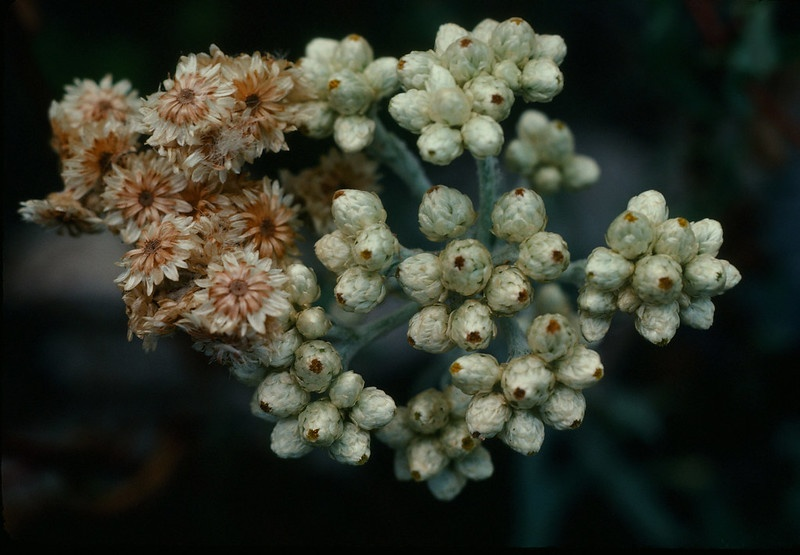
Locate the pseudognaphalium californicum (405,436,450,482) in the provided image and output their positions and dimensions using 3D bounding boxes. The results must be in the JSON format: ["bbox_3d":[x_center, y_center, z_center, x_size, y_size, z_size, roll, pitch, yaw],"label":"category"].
[{"bbox_3d":[0.086,0.573,2.674,0.126,0.136,0.098,-13,0,-4],"label":"pseudognaphalium californicum"}]

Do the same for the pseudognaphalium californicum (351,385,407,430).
[{"bbox_3d":[-0.066,0.403,2.622,0.134,0.114,0.110,6,-13,28],"label":"pseudognaphalium californicum"}]

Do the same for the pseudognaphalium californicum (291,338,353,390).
[{"bbox_3d":[-0.259,0.256,2.602,0.144,0.129,0.148,7,9,-42],"label":"pseudognaphalium californicum"}]

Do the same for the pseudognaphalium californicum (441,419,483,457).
[{"bbox_3d":[0.186,0.487,2.609,0.104,0.102,0.116,2,2,9],"label":"pseudognaphalium californicum"}]

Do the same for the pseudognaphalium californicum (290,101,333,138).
[{"bbox_3d":[-0.274,-0.485,2.631,0.114,0.099,0.099,1,-1,-6],"label":"pseudognaphalium californicum"}]

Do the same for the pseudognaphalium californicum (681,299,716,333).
[{"bbox_3d":[0.894,0.111,2.538,0.100,0.096,0.078,-13,0,-43],"label":"pseudognaphalium californicum"}]

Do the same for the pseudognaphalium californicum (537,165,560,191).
[{"bbox_3d":[0.530,-0.360,3.042,0.086,0.095,0.083,3,6,28],"label":"pseudognaphalium californicum"}]

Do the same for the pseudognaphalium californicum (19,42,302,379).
[{"bbox_3d":[-0.680,-0.225,2.626,0.869,0.972,0.339,-13,0,18],"label":"pseudognaphalium californicum"}]

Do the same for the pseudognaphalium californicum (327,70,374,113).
[{"bbox_3d":[-0.158,-0.564,2.603,0.141,0.120,0.113,11,9,-10],"label":"pseudognaphalium californicum"}]

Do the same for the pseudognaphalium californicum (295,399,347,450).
[{"bbox_3d":[-0.238,0.432,2.531,0.122,0.116,0.132,1,-3,8],"label":"pseudognaphalium californicum"}]

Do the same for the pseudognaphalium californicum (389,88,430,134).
[{"bbox_3d":[0.029,-0.493,2.551,0.118,0.097,0.105,31,20,-5],"label":"pseudognaphalium californicum"}]

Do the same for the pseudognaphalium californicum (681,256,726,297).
[{"bbox_3d":[0.885,-0.003,2.473,0.127,0.106,0.102,3,-5,-2],"label":"pseudognaphalium californicum"}]

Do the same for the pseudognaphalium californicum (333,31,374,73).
[{"bbox_3d":[-0.150,-0.710,2.729,0.119,0.111,0.128,-7,-37,-10],"label":"pseudognaphalium californicum"}]

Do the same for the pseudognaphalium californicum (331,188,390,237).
[{"bbox_3d":[-0.122,-0.201,2.563,0.156,0.131,0.121,4,14,-3],"label":"pseudognaphalium californicum"}]

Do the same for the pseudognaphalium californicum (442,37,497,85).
[{"bbox_3d":[0.194,-0.636,2.511,0.138,0.120,0.120,-3,-27,-12],"label":"pseudognaphalium californicum"}]

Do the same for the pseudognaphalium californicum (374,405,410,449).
[{"bbox_3d":[-0.033,0.482,2.716,0.126,0.109,0.104,0,5,-4],"label":"pseudognaphalium californicum"}]

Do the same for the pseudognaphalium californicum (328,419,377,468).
[{"bbox_3d":[-0.151,0.508,2.630,0.128,0.113,0.116,32,62,32],"label":"pseudognaphalium californicum"}]

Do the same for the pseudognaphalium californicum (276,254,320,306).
[{"bbox_3d":[-0.295,0.009,2.544,0.101,0.127,0.113,-7,-3,20],"label":"pseudognaphalium californicum"}]

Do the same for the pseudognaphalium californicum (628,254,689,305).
[{"bbox_3d":[0.761,0.006,2.466,0.159,0.147,0.084,-13,0,-18],"label":"pseudognaphalium californicum"}]

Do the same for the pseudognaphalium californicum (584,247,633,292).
[{"bbox_3d":[0.609,-0.012,2.518,0.137,0.097,0.110,10,16,-47],"label":"pseudognaphalium californicum"}]

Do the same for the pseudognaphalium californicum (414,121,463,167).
[{"bbox_3d":[0.111,-0.391,2.478,0.124,0.123,0.060,27,-18,7],"label":"pseudognaphalium californicum"}]

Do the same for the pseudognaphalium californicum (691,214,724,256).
[{"bbox_3d":[0.915,-0.127,2.509,0.099,0.105,0.038,-3,0,2],"label":"pseudognaphalium californicum"}]

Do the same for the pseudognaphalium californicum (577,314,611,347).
[{"bbox_3d":[0.574,0.155,2.553,0.086,0.099,0.111,-13,0,-22],"label":"pseudognaphalium californicum"}]

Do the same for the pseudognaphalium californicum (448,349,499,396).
[{"bbox_3d":[0.217,0.280,2.524,0.137,0.105,0.108,2,31,-14],"label":"pseudognaphalium californicum"}]

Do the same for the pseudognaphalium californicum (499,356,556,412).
[{"bbox_3d":[0.363,0.311,2.443,0.135,0.135,0.154,-5,-19,19],"label":"pseudognaphalium californicum"}]

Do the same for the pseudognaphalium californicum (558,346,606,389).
[{"bbox_3d":[0.532,0.263,2.498,0.126,0.082,0.109,-11,25,44],"label":"pseudognaphalium californicum"}]

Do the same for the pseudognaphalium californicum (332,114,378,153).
[{"bbox_3d":[-0.150,-0.448,2.626,0.105,0.117,0.058,3,4,-1],"label":"pseudognaphalium californicum"}]

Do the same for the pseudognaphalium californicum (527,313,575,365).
[{"bbox_3d":[0.439,0.174,2.449,0.135,0.132,0.085,-4,10,7],"label":"pseudognaphalium californicum"}]

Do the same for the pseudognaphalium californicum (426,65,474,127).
[{"bbox_3d":[0.135,-0.533,2.480,0.127,0.186,0.067,-13,0,7],"label":"pseudognaphalium californicum"}]

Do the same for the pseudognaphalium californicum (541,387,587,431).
[{"bbox_3d":[0.473,0.388,2.541,0.117,0.080,0.130,-46,36,-10],"label":"pseudognaphalium californicum"}]

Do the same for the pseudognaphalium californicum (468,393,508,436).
[{"bbox_3d":[0.260,0.407,2.495,0.132,0.134,0.064,-13,0,5],"label":"pseudognaphalium californicum"}]

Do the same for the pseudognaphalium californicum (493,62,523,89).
[{"bbox_3d":[0.320,-0.603,2.518,0.089,0.068,0.070,30,11,-15],"label":"pseudognaphalium californicum"}]

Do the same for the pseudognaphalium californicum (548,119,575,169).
[{"bbox_3d":[0.572,-0.483,3.064,0.088,0.142,0.113,-3,36,18],"label":"pseudognaphalium californicum"}]

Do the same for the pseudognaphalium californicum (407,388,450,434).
[{"bbox_3d":[0.088,0.417,2.672,0.120,0.117,0.129,3,3,17],"label":"pseudognaphalium californicum"}]

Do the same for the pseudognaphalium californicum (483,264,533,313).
[{"bbox_3d":[0.310,0.037,2.513,0.112,0.117,0.138,-9,-4,-2],"label":"pseudognaphalium californicum"}]

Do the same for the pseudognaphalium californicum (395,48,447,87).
[{"bbox_3d":[0.060,-0.619,2.525,0.121,0.094,0.104,-10,13,4],"label":"pseudognaphalium californicum"}]

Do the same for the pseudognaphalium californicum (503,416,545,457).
[{"bbox_3d":[0.373,0.457,2.549,0.112,0.118,0.074,-30,-6,14],"label":"pseudognaphalium californicum"}]

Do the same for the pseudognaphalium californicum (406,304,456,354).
[{"bbox_3d":[0.094,0.157,2.550,0.139,0.112,0.120,-22,44,-19],"label":"pseudognaphalium californicum"}]

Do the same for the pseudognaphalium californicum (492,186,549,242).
[{"bbox_3d":[0.346,-0.187,2.557,0.147,0.150,0.161,1,-5,-40],"label":"pseudognaphalium californicum"}]

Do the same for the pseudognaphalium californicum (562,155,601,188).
[{"bbox_3d":[0.653,-0.385,3.078,0.128,0.123,0.059,-13,0,12],"label":"pseudognaphalium californicum"}]

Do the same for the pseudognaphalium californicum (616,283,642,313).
[{"bbox_3d":[0.671,0.067,2.489,0.061,0.076,0.037,-17,-39,9],"label":"pseudognaphalium californicum"}]

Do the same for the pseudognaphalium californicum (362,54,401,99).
[{"bbox_3d":[-0.067,-0.621,2.662,0.106,0.087,0.129,6,-37,-18],"label":"pseudognaphalium californicum"}]

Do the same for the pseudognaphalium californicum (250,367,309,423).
[{"bbox_3d":[-0.361,0.356,2.546,0.169,0.146,0.133,-4,-2,4],"label":"pseudognaphalium californicum"}]

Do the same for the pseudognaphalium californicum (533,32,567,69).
[{"bbox_3d":[0.452,-0.701,2.603,0.099,0.083,0.078,7,-9,-11],"label":"pseudognaphalium californicum"}]

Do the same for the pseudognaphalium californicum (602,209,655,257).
[{"bbox_3d":[0.666,-0.127,2.462,0.117,0.120,0.139,-11,-2,18],"label":"pseudognaphalium californicum"}]

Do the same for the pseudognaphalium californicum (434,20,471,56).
[{"bbox_3d":[0.156,-0.722,2.602,0.095,0.100,0.059,5,-3,-1],"label":"pseudognaphalium californicum"}]

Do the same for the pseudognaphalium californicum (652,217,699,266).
[{"bbox_3d":[0.796,-0.098,2.477,0.114,0.137,0.138,1,7,12],"label":"pseudognaphalium californicum"}]

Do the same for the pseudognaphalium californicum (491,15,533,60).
[{"bbox_3d":[0.334,-0.711,2.521,0.129,0.129,0.118,-3,12,6],"label":"pseudognaphalium californicum"}]

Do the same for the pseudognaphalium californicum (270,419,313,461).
[{"bbox_3d":[-0.337,0.496,2.594,0.125,0.107,0.074,2,24,4],"label":"pseudognaphalium californicum"}]

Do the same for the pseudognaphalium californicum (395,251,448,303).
[{"bbox_3d":[0.065,0.004,2.544,0.126,0.126,0.149,-14,-17,25],"label":"pseudognaphalium californicum"}]

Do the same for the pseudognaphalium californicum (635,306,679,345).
[{"bbox_3d":[0.755,0.132,2.476,0.105,0.123,0.077,4,8,6],"label":"pseudognaphalium californicum"}]

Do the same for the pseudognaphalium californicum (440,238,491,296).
[{"bbox_3d":[0.187,-0.032,2.428,0.139,0.152,0.138,0,6,6],"label":"pseudognaphalium californicum"}]

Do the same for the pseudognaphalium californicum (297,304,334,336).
[{"bbox_3d":[-0.262,0.133,2.578,0.093,0.080,0.075,0,5,17],"label":"pseudognaphalium californicum"}]
